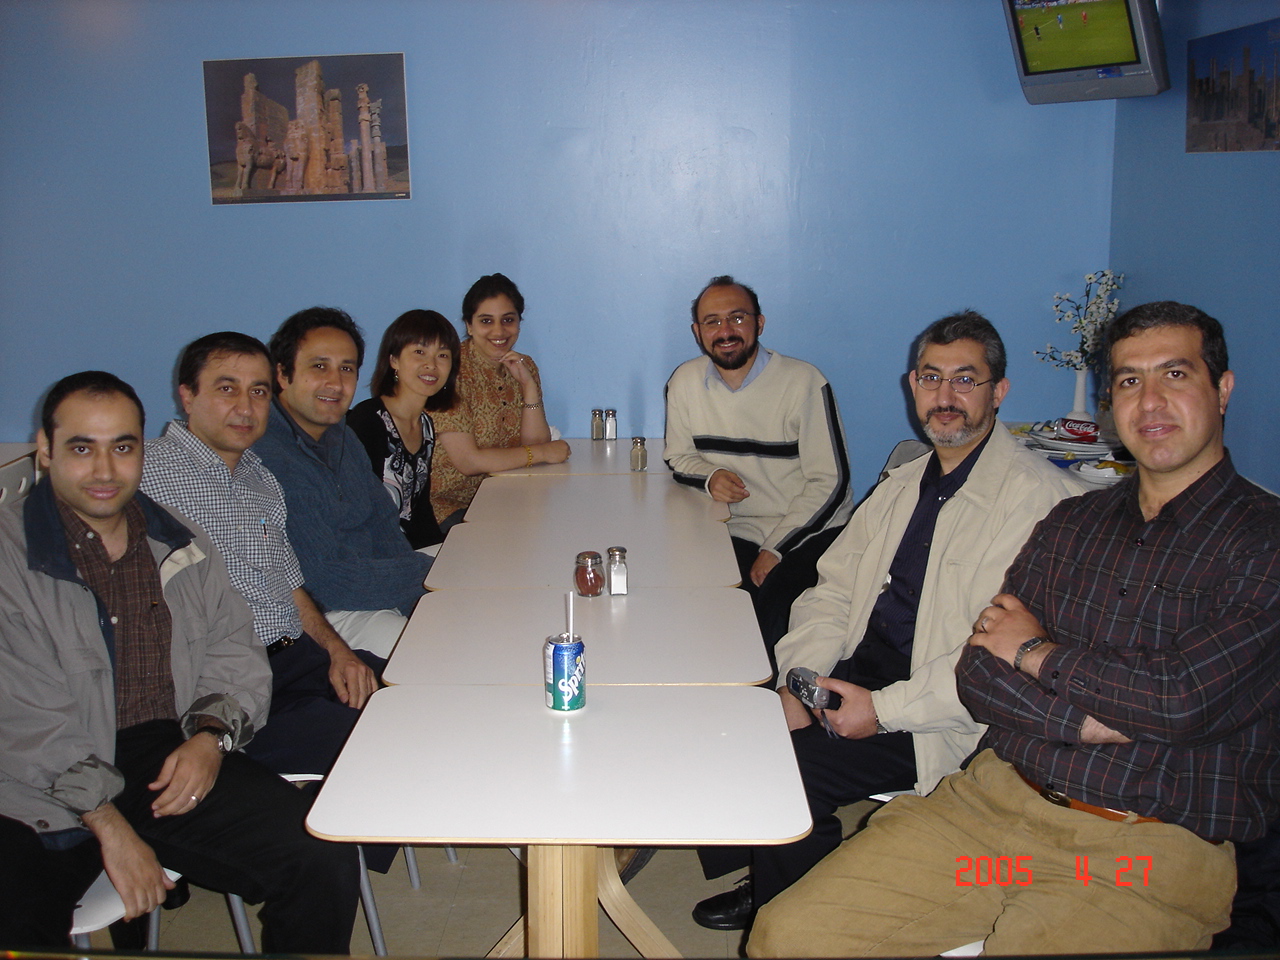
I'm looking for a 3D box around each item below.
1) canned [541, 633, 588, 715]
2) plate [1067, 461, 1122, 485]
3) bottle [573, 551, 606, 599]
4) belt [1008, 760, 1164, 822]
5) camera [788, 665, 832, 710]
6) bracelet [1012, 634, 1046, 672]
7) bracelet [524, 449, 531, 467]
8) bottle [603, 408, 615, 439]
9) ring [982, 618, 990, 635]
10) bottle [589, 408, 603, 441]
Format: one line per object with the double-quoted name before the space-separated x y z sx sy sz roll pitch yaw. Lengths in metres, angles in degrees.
"canned" -0.164 0.411 2.140 0.093 0.170 0.103 -2 7 -4
"plate" 1.693 -0.028 3.690 0.125 0.020 0.126 7 21 35
"bottle" -0.128 0.264 2.702 0.103 0.136 0.105 2 0 0
"belt" 0.972 0.670 2.125 0.219 0.202 0.052 -13 19 11
"camera" 0.427 0.527 2.566 0.115 0.043 0.086 30 -8 48
"bracelet" 0.875 0.389 2.238 0.076 0.030 0.058 -49 26 -9
"bracelet" -0.469 -0.094 4.112 0.015 0.057 0.058 7 -11 -9
"bottle" -0.141 -0.254 4.631 0.050 0.139 0.068 0 8 16
"ring" 0.813 0.343 2.320 0.023 0.007 0.023 -16 37 12
"bottle" -0.200 -0.252 4.642 0.072 0.144 0.064 1 8 23
